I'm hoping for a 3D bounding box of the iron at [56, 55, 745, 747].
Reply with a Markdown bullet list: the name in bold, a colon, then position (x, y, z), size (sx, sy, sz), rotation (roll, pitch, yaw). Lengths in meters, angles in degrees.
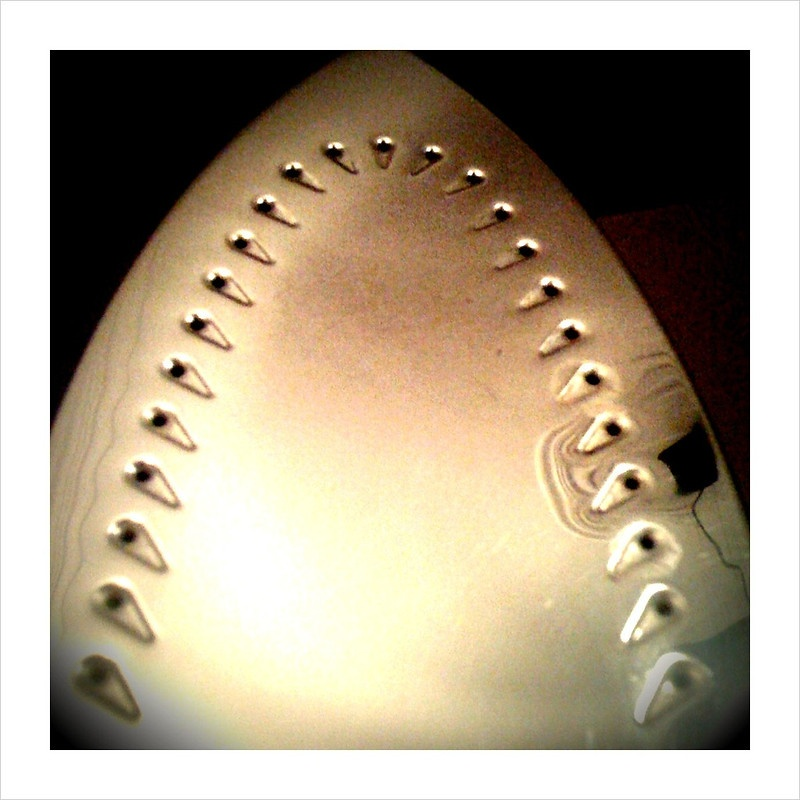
- **iron**: position (0.002, 0.001, 1.043), size (0.605, 0.348, 0.481), rotation (2, 52, -3)
